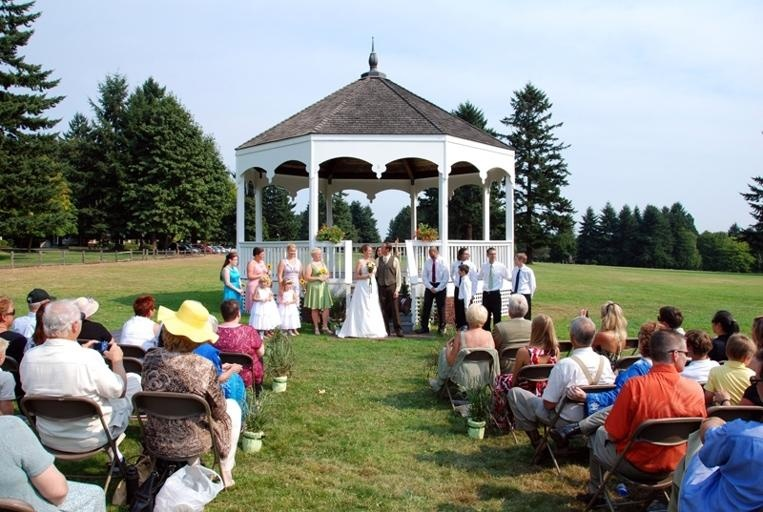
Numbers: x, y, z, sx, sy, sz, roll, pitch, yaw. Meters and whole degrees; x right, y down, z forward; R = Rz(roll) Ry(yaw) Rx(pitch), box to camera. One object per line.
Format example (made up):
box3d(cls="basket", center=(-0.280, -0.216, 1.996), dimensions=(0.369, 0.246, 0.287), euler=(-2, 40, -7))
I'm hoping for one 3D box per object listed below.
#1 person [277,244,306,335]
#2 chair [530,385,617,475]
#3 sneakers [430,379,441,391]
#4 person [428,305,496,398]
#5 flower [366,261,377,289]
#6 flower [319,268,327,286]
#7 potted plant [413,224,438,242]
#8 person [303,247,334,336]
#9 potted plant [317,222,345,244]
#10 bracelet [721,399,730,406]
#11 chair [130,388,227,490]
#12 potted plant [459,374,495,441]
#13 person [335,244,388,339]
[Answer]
box3d(cls="person", center=(-2.042, 0.790, 15.480), dimensions=(0.629, 2.101, 0.586), euler=(1, -3, -41))
box3d(cls="chair", center=(2.672, 2.268, 9.235), dimensions=(0.843, 1.556, 1.166), euler=(1, 3, -13))
box3d(cls="sneakers", center=(0.901, 2.145, 11.217), dimensions=(0.171, 0.113, 0.205), euler=(-4, -8, -6))
box3d(cls="person", center=(1.348, 1.583, 10.999), dimensions=(0.858, 1.713, 1.582), euler=(2, 2, -10))
box3d(cls="flower", center=(-0.217, 0.444, 15.330), dimensions=(0.211, 0.536, 0.263), euler=(3, 7, -2))
box3d(cls="flower", center=(-1.317, 0.487, 15.712), dimensions=(0.145, 0.375, 0.365), euler=(6, 8, 20))
box3d(cls="potted plant", center=(1.233, -0.587, 18.571), dimensions=(0.497, 0.386, 0.526), euler=(2, -2, -3))
box3d(cls="person", center=(-1.458, 0.830, 15.944), dimensions=(0.665, 2.058, 1.178), euler=(3, 7, -4))
box3d(cls="potted plant", center=(-1.396, -0.596, 18.346), dimensions=(0.555, 0.431, 0.571), euler=(5, 13, -17))
box3d(cls="bracelet", center=(4.158, 1.789, 8.221), dimensions=(0.071, 0.083, 0.078), euler=(0, 2, -10))
box3d(cls="chair", center=(-2.336, 1.970, 7.686), dimensions=(0.715, 1.418, 1.003), euler=(2, 20, -1))
box3d(cls="potted plant", center=(1.466, 2.355, 10.003), dimensions=(0.500, 0.900, 0.594), euler=(3, -25, 4))
box3d(cls="person", center=(-0.381, 0.883, 15.484), dimensions=(1.040, 1.986, 1.107), euler=(10, 10, 42))
